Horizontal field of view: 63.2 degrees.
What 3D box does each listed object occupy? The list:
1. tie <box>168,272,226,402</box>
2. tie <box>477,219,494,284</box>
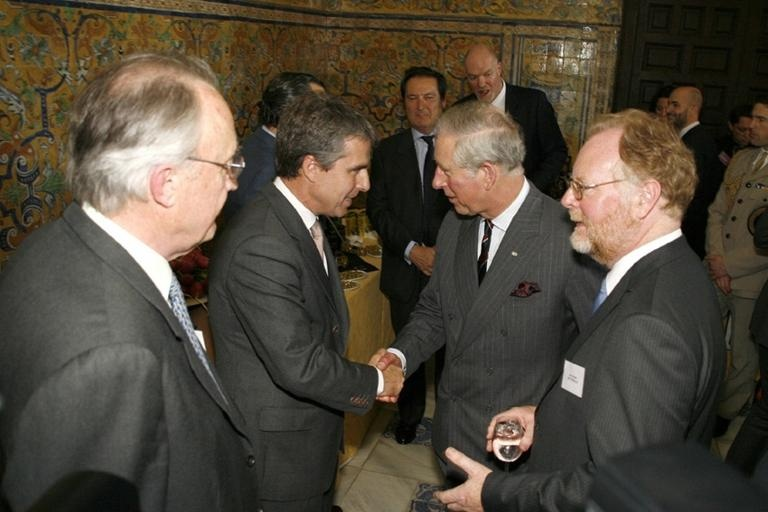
[{"bbox_3d":[-0.658,0.284,2.213,0.067,0.157,0.632,-37,48,-6],"label":"tie"},{"bbox_3d":[0.459,-0.025,2.815,0.049,0.028,0.363,5,58,14],"label":"tie"}]
